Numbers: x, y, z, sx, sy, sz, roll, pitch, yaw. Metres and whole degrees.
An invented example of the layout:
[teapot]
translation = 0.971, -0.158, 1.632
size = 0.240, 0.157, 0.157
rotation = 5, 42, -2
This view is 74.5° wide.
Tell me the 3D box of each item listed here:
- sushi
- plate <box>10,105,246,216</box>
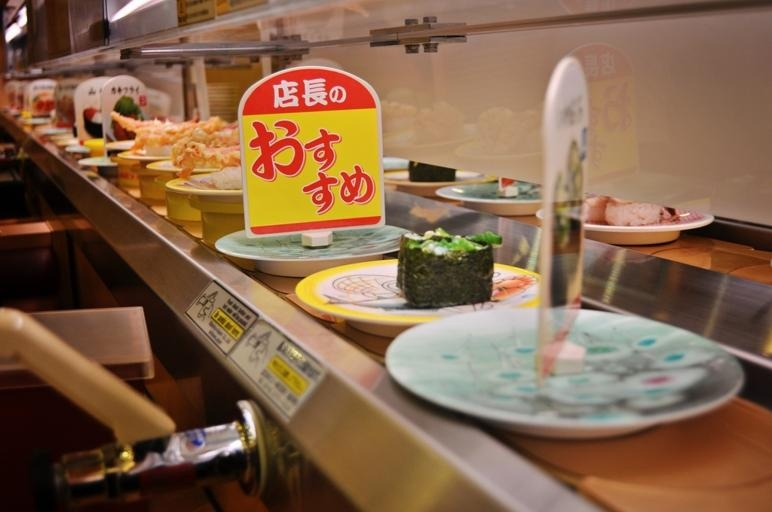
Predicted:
[sushi]
translation = 0.085, 0.010, 0.702
size = 0.126, 0.076, 0.119
rotation = -1, 5, -10
[plate]
translation = -0.598, -0.343, 1.667
size = 0.498, 0.345, 0.908
rotation = -10, 15, -31
